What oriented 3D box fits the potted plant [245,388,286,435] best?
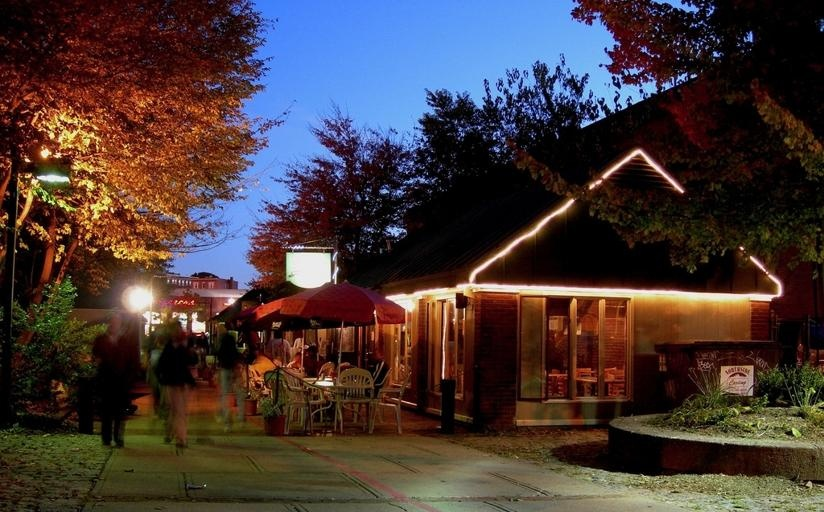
[{"bbox_3d":[-3.651,4.037,18.104,0.835,1.024,2.849,1,-3,-18],"label":"potted plant"}]

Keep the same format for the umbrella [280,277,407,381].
[{"bbox_3d":[-1.929,2.216,21.146,3.253,2.140,3.195,1,-7,-3],"label":"umbrella"}]

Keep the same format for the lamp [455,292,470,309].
[{"bbox_3d":[1.362,1.208,18.641,0.374,0.371,0.684,1,-2,6],"label":"lamp"}]
